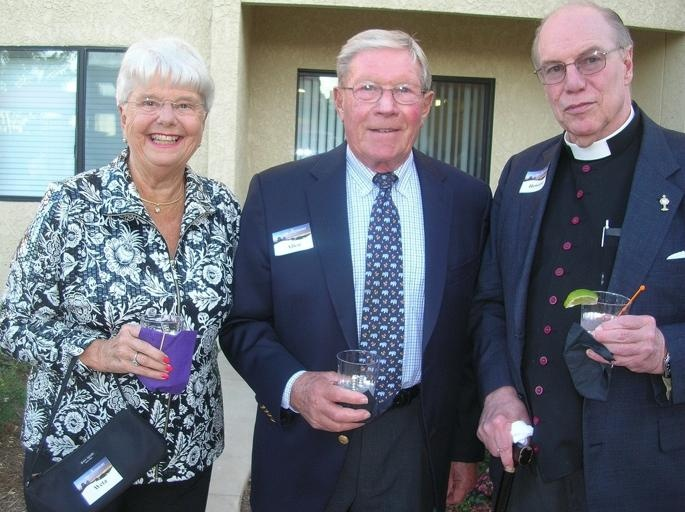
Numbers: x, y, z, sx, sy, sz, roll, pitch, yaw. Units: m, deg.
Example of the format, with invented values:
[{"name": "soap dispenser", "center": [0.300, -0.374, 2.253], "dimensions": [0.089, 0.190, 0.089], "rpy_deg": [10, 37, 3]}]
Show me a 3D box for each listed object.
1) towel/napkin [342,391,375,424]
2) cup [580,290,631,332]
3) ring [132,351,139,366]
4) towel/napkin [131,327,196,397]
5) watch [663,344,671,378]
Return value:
[{"name": "towel/napkin", "center": [0.070, 0.605, 2.566], "dimensions": [0.115, 0.090, 0.117], "rpy_deg": [-1, 4, 2]}, {"name": "cup", "center": [1.070, 0.230, 2.586], "dimensions": [0.187, 0.158, 0.134], "rpy_deg": [4, 10, 28]}, {"name": "ring", "center": [-0.854, 0.428, 2.603], "dimensions": [0.015, 0.042, 0.037], "rpy_deg": [2, -8, 13]}, {"name": "towel/napkin", "center": [-0.736, 0.434, 2.595], "dimensions": [0.252, 0.271, 0.111], "rpy_deg": [7, -5, 10]}, {"name": "watch", "center": [1.345, 0.446, 2.601], "dimensions": [0.032, 0.123, 0.034], "rpy_deg": [4, 10, 28]}]
